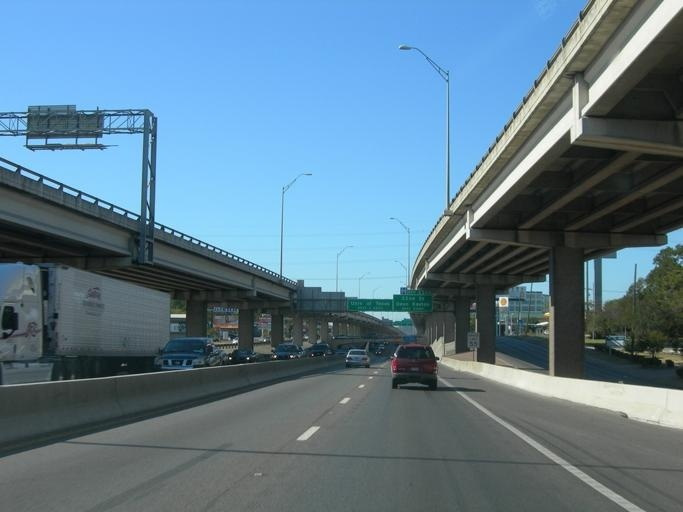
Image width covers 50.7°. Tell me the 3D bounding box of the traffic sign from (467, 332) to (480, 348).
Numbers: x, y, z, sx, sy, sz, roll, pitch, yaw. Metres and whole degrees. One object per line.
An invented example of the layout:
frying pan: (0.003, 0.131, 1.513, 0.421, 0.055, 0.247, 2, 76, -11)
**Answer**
traffic sign: (9.156, 5.861, 49.854, 1.019, 1.613, 1.143, 0, -8, 2)

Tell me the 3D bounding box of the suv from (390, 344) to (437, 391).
suv: (3.059, 4.573, 29.909, 1.832, 1.905, 1.701, -1, -12, 3)

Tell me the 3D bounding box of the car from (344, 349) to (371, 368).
car: (1.275, 7.710, 54.297, 1.672, 1.491, 2.019, 0, -13, -1)
